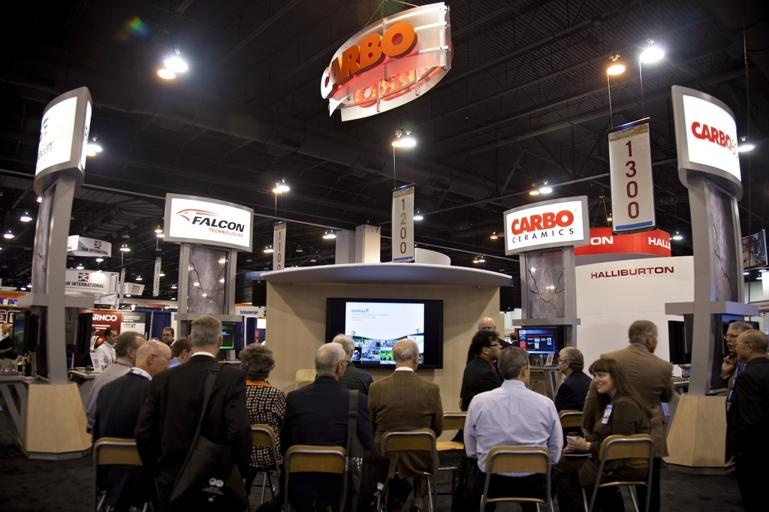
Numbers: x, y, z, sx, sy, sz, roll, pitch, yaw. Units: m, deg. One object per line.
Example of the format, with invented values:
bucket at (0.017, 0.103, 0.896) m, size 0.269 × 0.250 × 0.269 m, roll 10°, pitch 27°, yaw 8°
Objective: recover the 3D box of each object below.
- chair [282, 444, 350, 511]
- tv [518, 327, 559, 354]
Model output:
chair at (-0.543, 1.899, 5.194) m, size 0.588 × 0.656 × 0.537 m, roll 2°, pitch -7°, yaw 1°
tv at (2.579, 1.409, 9.574) m, size 0.119 × 0.603 × 0.863 m, roll 13°, pitch -12°, yaw -40°
